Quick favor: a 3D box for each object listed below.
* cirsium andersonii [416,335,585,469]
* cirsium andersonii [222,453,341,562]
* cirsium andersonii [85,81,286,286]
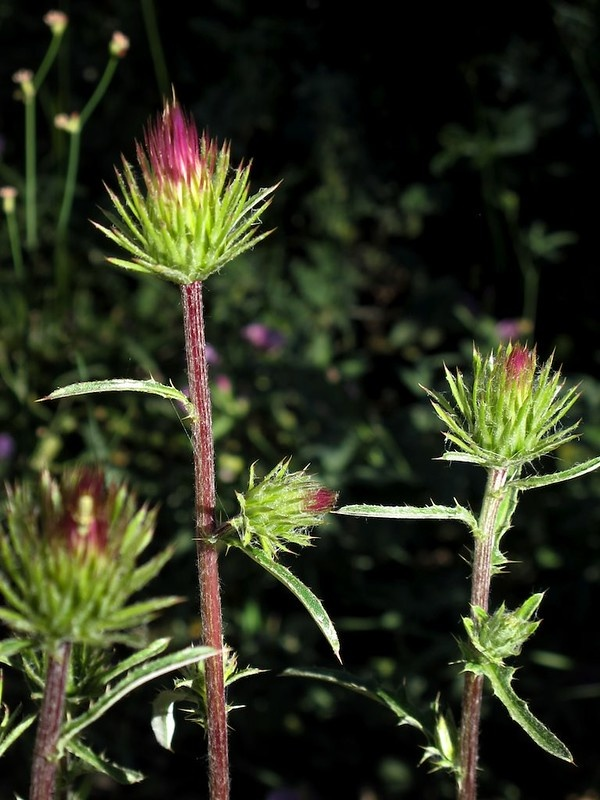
[{"bbox_3d":[0.222,0.007,0.970,0.141,0.138,0.131,3,-17,5],"label":"cirsium andersonii"},{"bbox_3d":[-0.037,0.117,0.993,0.108,0.117,0.094,-23,-46,33],"label":"cirsium andersonii"},{"bbox_3d":[-0.102,-0.212,0.943,0.219,0.185,0.180,1,-3,24],"label":"cirsium andersonii"}]
